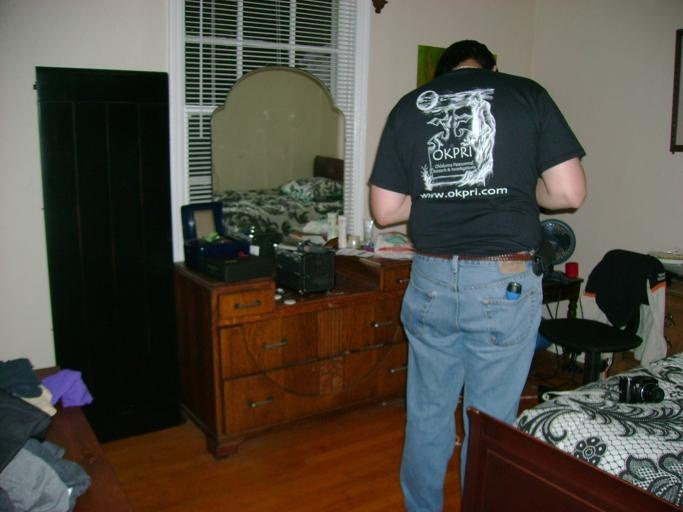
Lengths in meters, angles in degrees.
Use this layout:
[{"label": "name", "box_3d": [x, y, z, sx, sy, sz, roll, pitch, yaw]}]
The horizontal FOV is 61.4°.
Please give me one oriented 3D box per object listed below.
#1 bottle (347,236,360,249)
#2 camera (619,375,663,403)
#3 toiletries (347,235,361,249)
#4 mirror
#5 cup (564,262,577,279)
[{"label": "bottle", "box_3d": [0.088, -0.096, 3.973, 0.078, 0.079, 0.081, -2, 7, -21]}, {"label": "camera", "box_3d": [1.187, 0.533, 2.281, 0.144, 0.107, 0.105, -1, 1, -16]}, {"label": "toiletries", "box_3d": [0.086, -0.100, 3.928, 0.081, 0.083, 0.084, -3, 8, -19]}, {"label": "mirror", "box_3d": [-0.446, -0.668, 3.703, 1.049, 1.262, 0.050, -9, 17, -33]}, {"label": "cup", "box_3d": [1.662, 0.102, 4.157, 0.096, 0.115, 0.099, -2, 5, 0]}]
